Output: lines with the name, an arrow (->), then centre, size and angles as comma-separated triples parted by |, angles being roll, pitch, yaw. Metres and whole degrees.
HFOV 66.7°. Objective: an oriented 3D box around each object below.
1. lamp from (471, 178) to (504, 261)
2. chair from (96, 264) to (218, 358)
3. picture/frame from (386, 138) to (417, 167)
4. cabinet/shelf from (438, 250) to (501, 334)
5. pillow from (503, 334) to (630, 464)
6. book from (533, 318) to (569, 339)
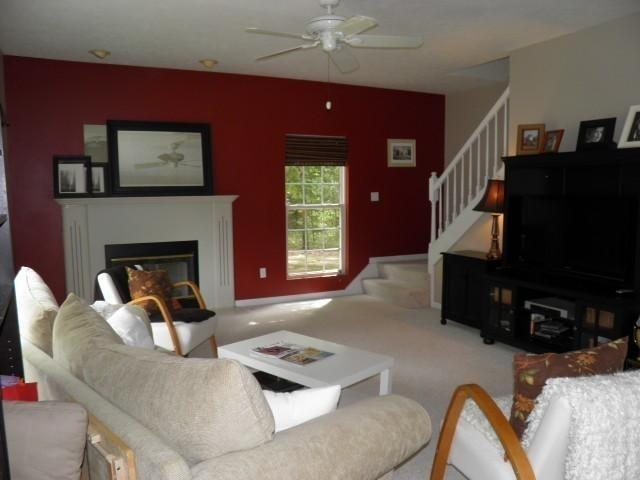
lamp -> 1.767, -0.221, 5.066 | 0.280, 0.814, 0.497 | 0, 6, 20
chair -> -1.407, 0.642, 4.460 | 0.914, 0.979, 0.763 | 2, 4, 17
picture/frame -> 1.183, -1.301, 7.185 | 0.466, 0.395, 0.038 | -2, 4, -25
cabinet/shelf -> 1.594, 0.552, 5.101 | 0.517, 0.889, 0.732 | -5, 11, -32
pillow -> 1.114, 0.720, 2.166 | 0.665, 0.634, 0.243 | 1, 7, -5
book -> 2.119, 0.779, 4.412 | 0.194, 0.064, 0.191 | -8, 12, -31
